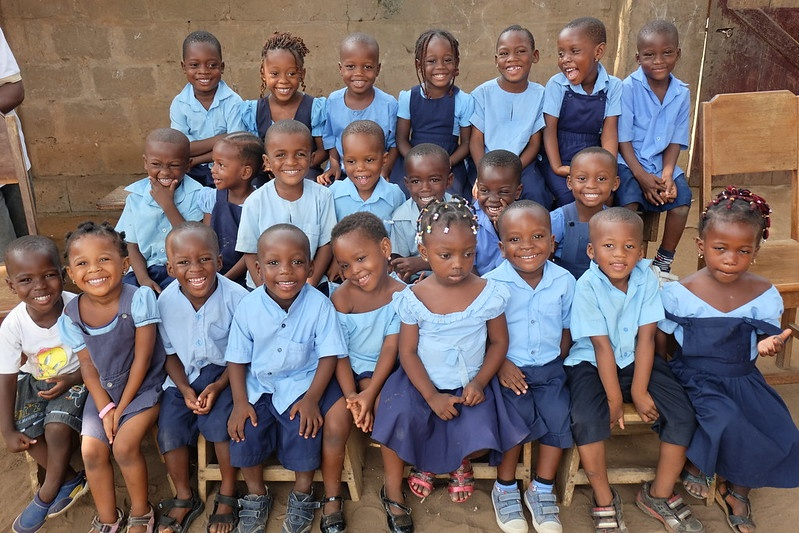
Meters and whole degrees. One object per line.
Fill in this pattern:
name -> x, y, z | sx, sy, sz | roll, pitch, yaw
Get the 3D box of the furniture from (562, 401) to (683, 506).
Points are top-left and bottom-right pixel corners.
furniture -> 1.269, 1.046, 4.626 | 0.773, 0.664, 0.572 | -1, -6, -12

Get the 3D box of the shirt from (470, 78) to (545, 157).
shirt -> 0.844, -1.148, 5.676 | 0.682, 0.616, 0.368 | 2, 18, 3

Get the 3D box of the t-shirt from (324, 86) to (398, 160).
t-shirt -> -0.293, -1.083, 5.573 | 0.664, 0.584, 0.359 | 0, 31, 1

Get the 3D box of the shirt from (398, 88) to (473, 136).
shirt -> 0.285, -1.208, 5.805 | 0.611, 0.420, 0.288 | 1, 5, -3

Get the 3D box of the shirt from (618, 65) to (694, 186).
shirt -> 1.945, -1.106, 5.608 | 0.502, 0.799, 0.288 | 2, 19, 17

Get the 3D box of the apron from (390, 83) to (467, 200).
apron -> 0.273, -1.010, 5.819 | 0.627, 0.787, 0.544 | 1, 25, 2

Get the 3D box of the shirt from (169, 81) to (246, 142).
shirt -> -1.578, -1.263, 5.971 | 0.586, 0.451, 0.306 | -8, 37, -18
